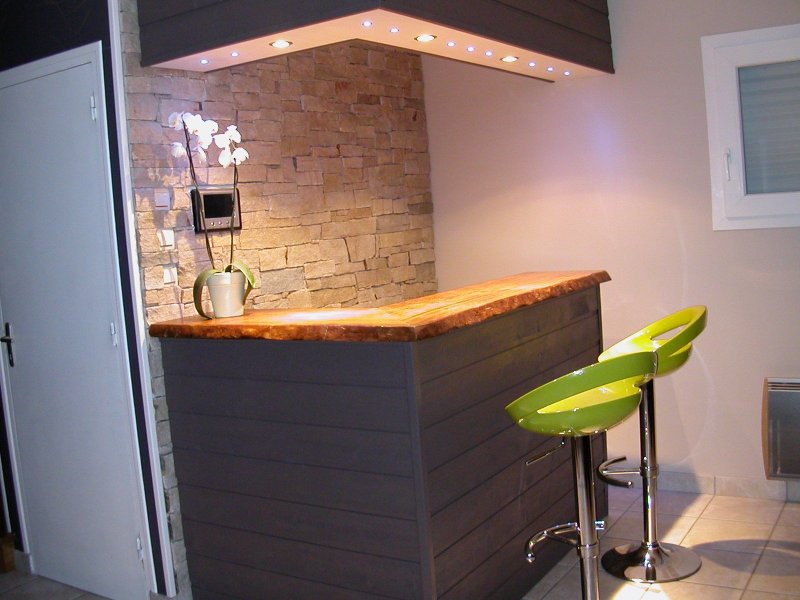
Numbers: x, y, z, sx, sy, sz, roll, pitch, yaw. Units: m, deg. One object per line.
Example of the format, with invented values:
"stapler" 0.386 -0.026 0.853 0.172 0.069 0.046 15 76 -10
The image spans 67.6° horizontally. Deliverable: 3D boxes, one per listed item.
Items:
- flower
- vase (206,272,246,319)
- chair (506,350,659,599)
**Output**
"flower" -0.875 -0.416 2.847 0.336 0.968 0.605 -6 6 -13
"vase" -0.762 -0.016 2.632 0.191 0.208 0.196 -2 -1 43
"chair" 0.728 0.741 2.324 0.618 1.101 0.347 -7 7 -25
